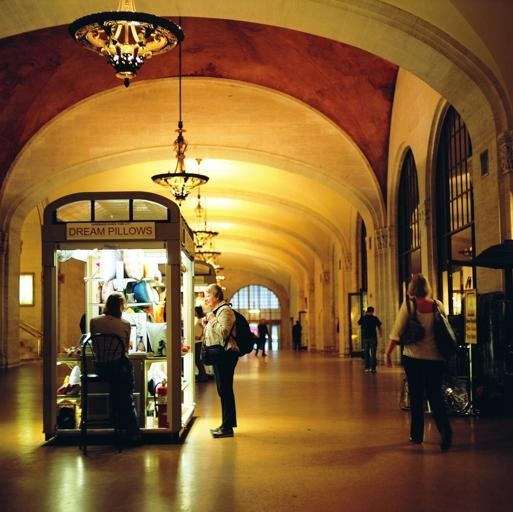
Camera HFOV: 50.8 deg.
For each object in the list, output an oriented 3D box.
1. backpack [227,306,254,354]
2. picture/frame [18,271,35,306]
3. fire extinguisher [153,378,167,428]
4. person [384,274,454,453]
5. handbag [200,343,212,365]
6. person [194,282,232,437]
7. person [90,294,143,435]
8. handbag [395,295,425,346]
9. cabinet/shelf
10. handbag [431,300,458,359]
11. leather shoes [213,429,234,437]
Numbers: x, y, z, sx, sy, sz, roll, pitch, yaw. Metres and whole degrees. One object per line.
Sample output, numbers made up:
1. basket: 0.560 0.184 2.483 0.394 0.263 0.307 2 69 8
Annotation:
1. backpack: -0.091 0.833 6.015 0.248 0.528 0.336 -13 -13 22
2. picture/frame: -9.456 1.340 22.685 0.653 1.331 0.143 -3 1 43
3. fire extinguisher: -0.988 1.558 5.694 0.174 0.505 0.108 0 2 -25
4. person: 1.530 0.932 5.018 0.581 1.594 0.384 -4 -11 23
5. handbag: -0.535 1.048 5.843 0.111 0.219 0.138 2 -11 -8
6. person: -0.404 1.087 5.893 0.408 1.643 0.441 -3 -11 19
7. person: -1.398 1.048 5.350 0.496 1.414 0.316 4 -11 -21
8. handbag: 1.486 0.600 5.085 0.219 0.530 0.329 -16 -18 37
9. cabinet/shelf: -1.667 0.456 7.018 0.995 2.674 2.634 -7 31 -18
10. handbag: 1.727 0.660 4.981 0.193 0.555 0.255 -4 -11 21
11. leather shoes: -0.345 1.841 5.672 0.215 0.103 0.084 4 -8 -2
